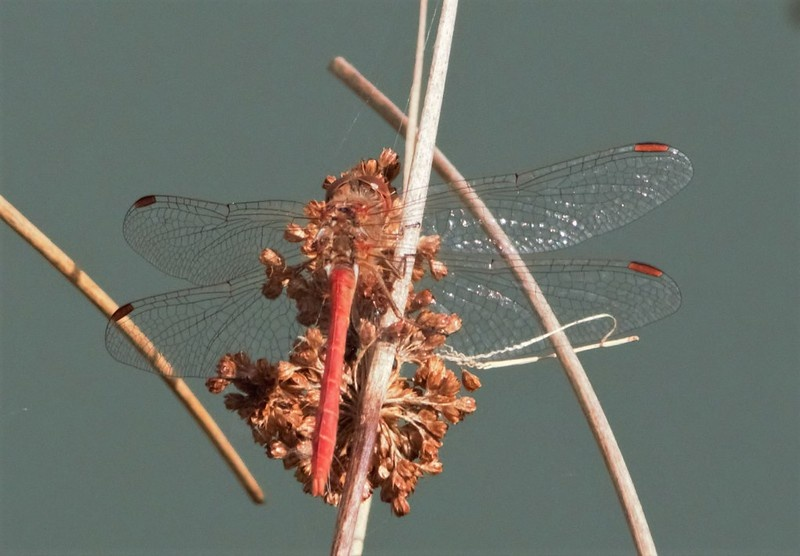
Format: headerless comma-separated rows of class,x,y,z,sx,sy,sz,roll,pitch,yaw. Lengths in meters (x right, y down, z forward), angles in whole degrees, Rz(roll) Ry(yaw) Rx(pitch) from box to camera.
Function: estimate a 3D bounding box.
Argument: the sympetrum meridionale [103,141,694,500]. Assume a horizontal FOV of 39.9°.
sympetrum meridionale,0.028,0.079,2.587,1.140,0.357,0.823,-1,92,-1
